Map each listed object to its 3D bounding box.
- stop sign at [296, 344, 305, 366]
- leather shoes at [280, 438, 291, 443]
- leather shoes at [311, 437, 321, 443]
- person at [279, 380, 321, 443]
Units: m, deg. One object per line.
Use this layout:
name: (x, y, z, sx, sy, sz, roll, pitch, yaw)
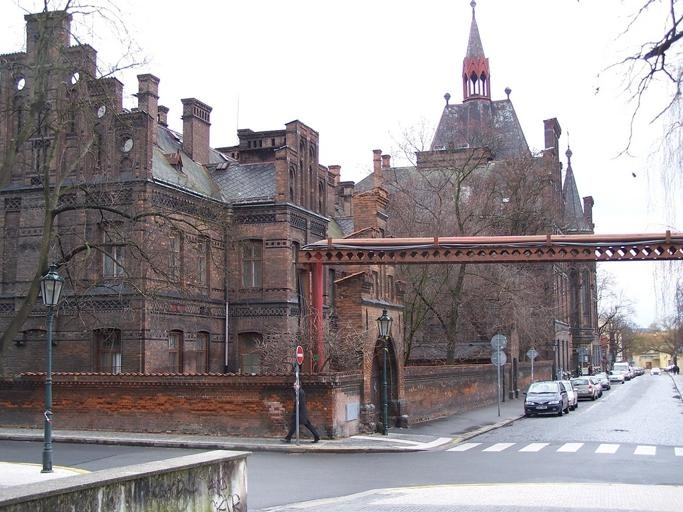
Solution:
stop sign: (-1.336, 3.191, 32.570, 0.125, 0.578, 0.517, -5, -12, 9)
leather shoes: (-1.808, 6.009, 32.740, 0.333, 0.245, 0.124, -7, -25, 29)
leather shoes: (-0.817, 5.988, 32.665, 0.249, 0.162, 0.452, -3, -13, -4)
person: (-1.325, 5.183, 33.003, 1.174, 1.900, 1.281, -1, -12, -10)
